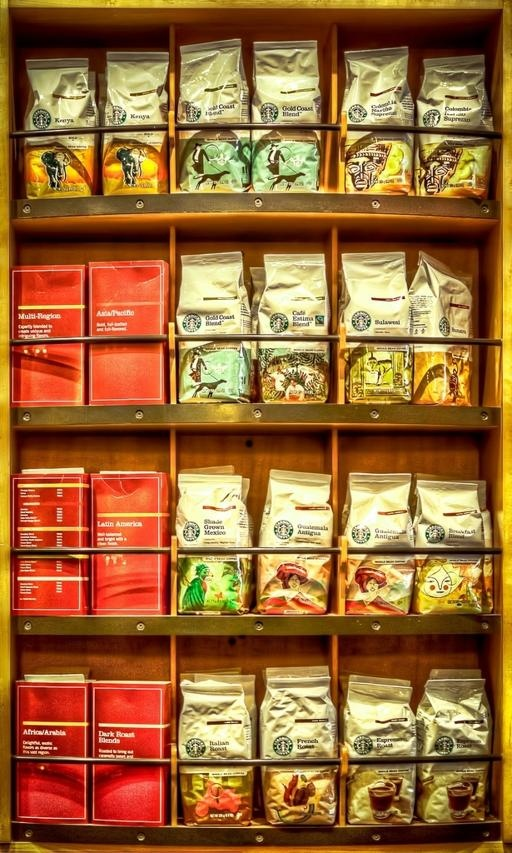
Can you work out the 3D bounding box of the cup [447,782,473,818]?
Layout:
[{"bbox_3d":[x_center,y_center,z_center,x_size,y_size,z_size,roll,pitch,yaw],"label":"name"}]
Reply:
[{"bbox_3d":[0.458,0.837,1.687,0.058,0.039,0.069,-10,-62,7],"label":"cup"}]

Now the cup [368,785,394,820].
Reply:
[{"bbox_3d":[0.279,0.826,1.682,0.059,0.064,0.076,-2,-96,18],"label":"cup"}]
